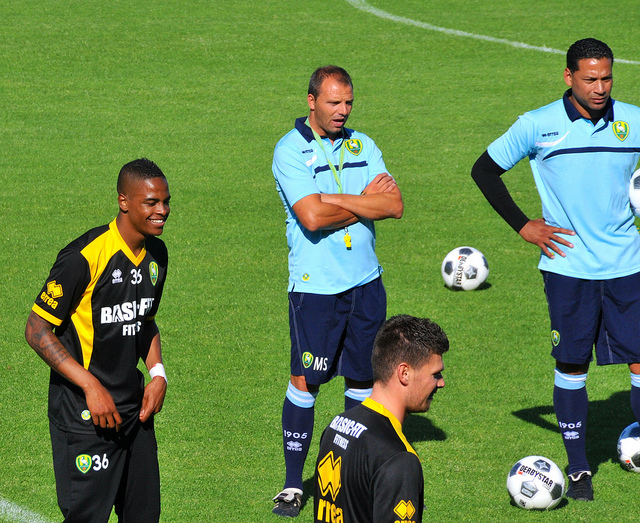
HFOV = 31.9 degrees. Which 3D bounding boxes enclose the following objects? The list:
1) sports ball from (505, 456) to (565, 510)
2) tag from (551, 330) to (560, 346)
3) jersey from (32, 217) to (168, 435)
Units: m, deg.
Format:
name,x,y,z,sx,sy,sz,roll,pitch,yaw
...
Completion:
name,x,y,z,sx,sy,sz,roll,pitch,yaw
sports ball,1.910,1.984,10.113,0.469,0.466,0.437,31,-8,5
tag,2.099,0.673,10.052,0.028,0.153,0.088,-5,14,-29
jersey,-1.732,0.503,9.054,0.707,1.538,1.260,13,10,37
